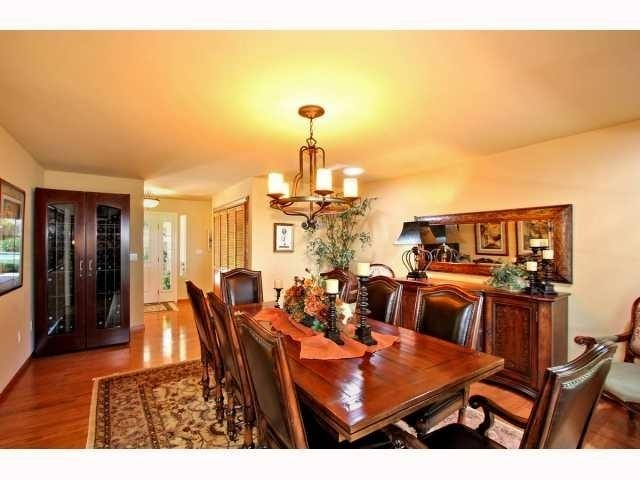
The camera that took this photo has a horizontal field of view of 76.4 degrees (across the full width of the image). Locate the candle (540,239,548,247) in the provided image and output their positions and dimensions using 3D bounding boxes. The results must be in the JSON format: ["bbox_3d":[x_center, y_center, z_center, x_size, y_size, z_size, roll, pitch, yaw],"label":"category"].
[{"bbox_3d":[2.161,0.034,3.933,0.070,0.075,0.156,4,6,32],"label":"candle"}]

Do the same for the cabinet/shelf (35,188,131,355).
[{"bbox_3d":[-2.794,0.370,4.839,1.061,1.940,0.372,-3,7,-29],"label":"cabinet/shelf"}]

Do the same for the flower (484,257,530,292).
[{"bbox_3d":[1.849,0.355,3.999,0.311,0.191,0.286,1,-1,-39],"label":"flower"}]

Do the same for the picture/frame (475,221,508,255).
[{"bbox_3d":[1.853,-0.028,4.440,0.326,0.377,0.023,3,-10,-2],"label":"picture/frame"}]

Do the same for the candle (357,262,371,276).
[{"bbox_3d":[0.309,0.207,2.874,0.076,0.108,0.250,1,5,10],"label":"candle"}]

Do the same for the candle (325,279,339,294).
[{"bbox_3d":[0.087,0.317,2.728,0.089,0.101,0.048,4,7,31],"label":"candle"}]

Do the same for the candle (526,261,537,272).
[{"bbox_3d":[1.975,0.256,3.857,0.101,0.082,0.096,0,-2,-19],"label":"candle"}]

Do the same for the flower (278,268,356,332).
[{"bbox_3d":[-0.063,0.473,3.251,0.488,0.352,0.511,6,3,19],"label":"flower"}]

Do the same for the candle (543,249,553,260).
[{"bbox_3d":[2.127,0.138,3.832,0.103,0.093,0.101,-4,-7,32],"label":"candle"}]

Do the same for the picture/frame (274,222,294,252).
[{"bbox_3d":[-0.549,-0.047,6.040,0.510,0.504,0.041,1,-2,-39],"label":"picture/frame"}]

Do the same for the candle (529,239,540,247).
[{"bbox_3d":[2.047,0.028,3.910,0.094,0.079,0.089,1,3,21],"label":"candle"}]

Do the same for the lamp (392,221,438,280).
[{"bbox_3d":[1.135,0.117,4.725,0.637,0.679,0.596,4,2,-15],"label":"lamp"}]

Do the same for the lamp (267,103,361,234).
[{"bbox_3d":[-0.081,-0.609,3.531,0.874,0.980,0.813,-3,7,-24],"label":"lamp"}]
